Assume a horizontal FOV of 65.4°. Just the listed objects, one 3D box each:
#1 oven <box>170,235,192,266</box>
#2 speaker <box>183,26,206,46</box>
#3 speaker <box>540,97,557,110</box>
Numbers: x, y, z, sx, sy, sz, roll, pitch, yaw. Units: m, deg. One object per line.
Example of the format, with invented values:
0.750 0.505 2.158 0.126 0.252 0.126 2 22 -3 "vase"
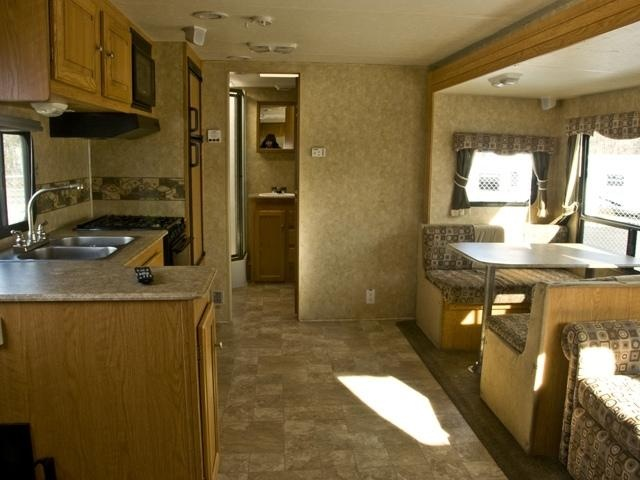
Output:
-1.173 0.096 4.191 0.226 0.250 0.287 0 10 -3 "oven"
-0.983 -1.580 3.889 0.159 0.108 0.160 0 11 -16 "speaker"
2.302 -1.351 5.019 0.160 0.126 0.224 0 10 41 "speaker"
